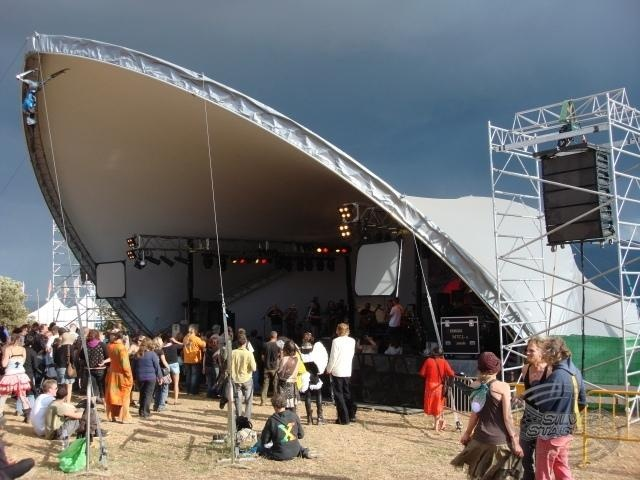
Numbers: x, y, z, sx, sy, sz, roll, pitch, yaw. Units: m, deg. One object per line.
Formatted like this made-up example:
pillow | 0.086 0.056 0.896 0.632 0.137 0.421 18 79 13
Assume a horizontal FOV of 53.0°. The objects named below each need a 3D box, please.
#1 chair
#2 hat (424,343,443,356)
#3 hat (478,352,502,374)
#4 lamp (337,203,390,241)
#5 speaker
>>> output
chair | 1.694 3.208 14.798 1.887 1.054 1.304 -1 -3 34
hat | 2.530 2.456 14.437 0.382 0.381 0.685 2 -5 -2
hat | 2.204 1.623 8.464 0.281 0.299 0.188 21 -1 41
lamp | 1.210 -0.708 18.498 1.328 0.989 0.498 3 33 6
speaker | 5.289 -0.895 13.084 1.525 2.082 0.926 -12 -15 43
